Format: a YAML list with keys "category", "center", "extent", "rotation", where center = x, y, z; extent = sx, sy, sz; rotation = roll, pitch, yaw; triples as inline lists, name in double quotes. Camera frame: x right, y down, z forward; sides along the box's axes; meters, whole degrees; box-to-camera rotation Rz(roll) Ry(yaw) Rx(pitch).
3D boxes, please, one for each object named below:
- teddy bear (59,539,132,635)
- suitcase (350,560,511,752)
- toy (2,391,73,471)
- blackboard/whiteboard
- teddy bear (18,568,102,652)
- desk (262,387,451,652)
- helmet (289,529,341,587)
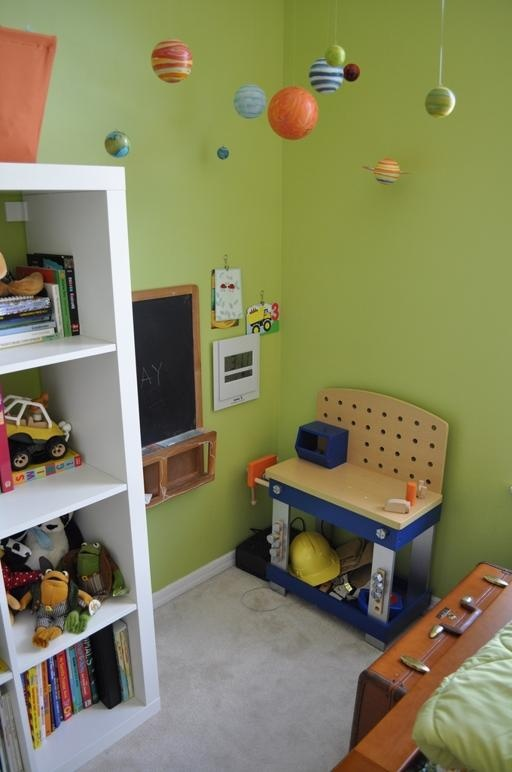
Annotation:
- category: "teddy bear"
  center: [-0.479, 0.549, 1.619]
  extent: [0.208, 0.156, 0.263]
  rotation: [-8, 15, -3]
- category: "suitcase"
  center: [0.421, 0.658, 1.420]
  extent: [0.140, 0.389, 0.404]
  rotation: [33, 45, 28]
- category: "toy"
  center: [-0.605, 0.128, 1.615]
  extent: [0.141, 0.167, 0.203]
  rotation: [17, 13, 43]
- category: "blackboard/whiteboard"
  center: [-0.330, -0.092, 2.079]
  extent: [0.028, 0.647, 0.534]
  rotation: [11, 14, 33]
- category: "teddy bear"
  center: [-0.533, 0.576, 1.508]
  extent: [0.212, 0.139, 0.243]
  rotation: [9, 2, -26]
- category: "desk"
  center: [0.405, 0.532, 2.214]
  extent: [0.372, 0.953, 0.666]
  rotation: [-14, 23, -41]
- category: "helmet"
  center: [0.238, 0.717, 2.355]
  extent: [0.155, 0.107, 0.198]
  rotation: [-20, 28, -22]
